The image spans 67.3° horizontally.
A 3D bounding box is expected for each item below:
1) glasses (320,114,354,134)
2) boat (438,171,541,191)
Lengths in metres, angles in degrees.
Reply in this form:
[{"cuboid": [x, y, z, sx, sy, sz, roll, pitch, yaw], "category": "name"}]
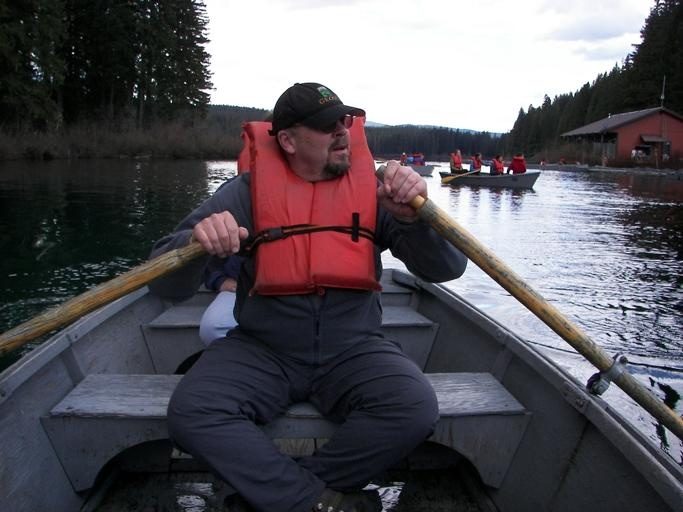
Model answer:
[{"cuboid": [-0.009, -0.576, 2.254, 0.096, 0.029, 0.101, -9, 21, 39], "category": "glasses"}, {"cuboid": [5.811, -2.981, 20.340, 1.370, 0.875, 4.650, -6, 9, -41], "category": "boat"}]
